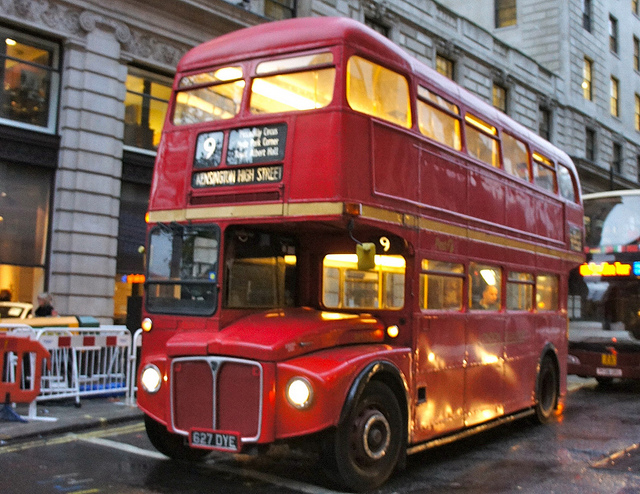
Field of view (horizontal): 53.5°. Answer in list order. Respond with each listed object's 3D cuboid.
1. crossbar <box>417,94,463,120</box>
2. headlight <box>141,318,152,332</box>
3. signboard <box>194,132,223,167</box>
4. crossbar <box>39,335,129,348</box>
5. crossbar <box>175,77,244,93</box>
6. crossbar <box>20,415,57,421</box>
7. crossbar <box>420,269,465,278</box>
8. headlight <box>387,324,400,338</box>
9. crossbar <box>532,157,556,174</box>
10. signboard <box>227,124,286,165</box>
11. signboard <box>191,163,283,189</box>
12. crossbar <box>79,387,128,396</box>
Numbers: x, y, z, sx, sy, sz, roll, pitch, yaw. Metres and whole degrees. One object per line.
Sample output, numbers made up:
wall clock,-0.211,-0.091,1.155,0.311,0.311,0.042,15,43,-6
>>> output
crossbar,1.724,-2.043,9.180,0.027,0.090,1.245,3,-2,41
headlight,-2.292,1.030,8.458,0.139,0.179,0.155,10,-2,15
signboard,-1.421,-1.261,8.156,0.400,0.532,0.054,2,-4,38
crossbar,-4.471,1.790,12.081,1.755,0.256,0.180,6,-2,-45
crossbar,-1.492,-2.184,8.474,1.162,0.180,0.038,5,-1,30
crossbar,-4.571,2.788,10.283,0.543,0.065,0.063,3,-5,4
crossbar,1.762,0.376,9.075,0.040,0.084,1.211,3,-2,39
headlight,0.964,1.114,8.419,0.136,0.152,0.150,-2,5,-7
crossbar,4.270,-1.572,12.127,0.032,0.184,1.027,3,-2,42
signboard,-0.790,-1.285,7.831,0.832,0.465,0.081,4,-1,31
signboard,-1.060,-0.904,7.922,1.372,0.309,0.021,5,-1,27
crossbar,-4.189,2.784,12.245,0.866,0.198,0.693,6,-1,-24
